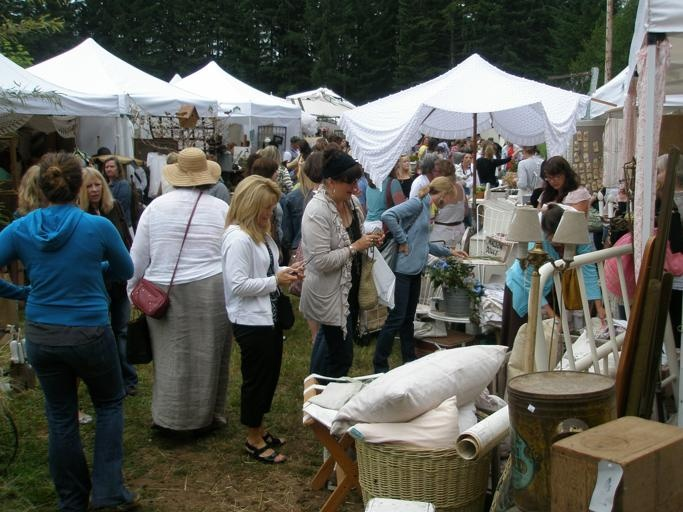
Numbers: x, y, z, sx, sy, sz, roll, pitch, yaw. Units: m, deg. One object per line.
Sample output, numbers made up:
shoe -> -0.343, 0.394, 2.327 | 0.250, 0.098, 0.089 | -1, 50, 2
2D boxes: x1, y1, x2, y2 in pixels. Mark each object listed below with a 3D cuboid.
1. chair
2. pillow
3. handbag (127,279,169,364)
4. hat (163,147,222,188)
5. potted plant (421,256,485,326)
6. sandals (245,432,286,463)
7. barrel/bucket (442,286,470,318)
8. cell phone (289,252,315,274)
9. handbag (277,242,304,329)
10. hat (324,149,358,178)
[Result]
chair -> 1.722, 0.065, 7.203 | 0.681, 1.146, 0.775 | 0, -7, 24
pillow -> 0.480, 0.793, 3.508 | 1.029, 0.419, 0.380 | -6, 14, -25
handbag -> -1.517, 0.522, 4.759 | 0.259, 0.731, 0.562 | 2, 7, -21
hat -> -1.214, -0.702, 4.830 | 0.337, 0.184, 0.370 | 6, 29, 12
potted plant -> 1.226, 0.400, 6.368 | 0.716, 0.805, 0.572 | 4, -7, -27
sandals -> -0.601, 1.536, 4.759 | 0.216, 0.086, 0.232 | 5, 8, 16
barrel/bucket -> 1.165, 0.486, 6.124 | 0.267, 0.243, 0.263 | 0, -4, 0
cell phone -> -0.306, 0.079, 4.772 | 0.164, 0.080, 0.283 | -23, 9, 20
handbag -> -0.428, 0.267, 4.711 | 0.172, 0.559, 0.308 | 6, 5, -2
hat -> -0.012, -0.686, 4.605 | 0.227, 0.190, 0.180 | 10, -8, -26
